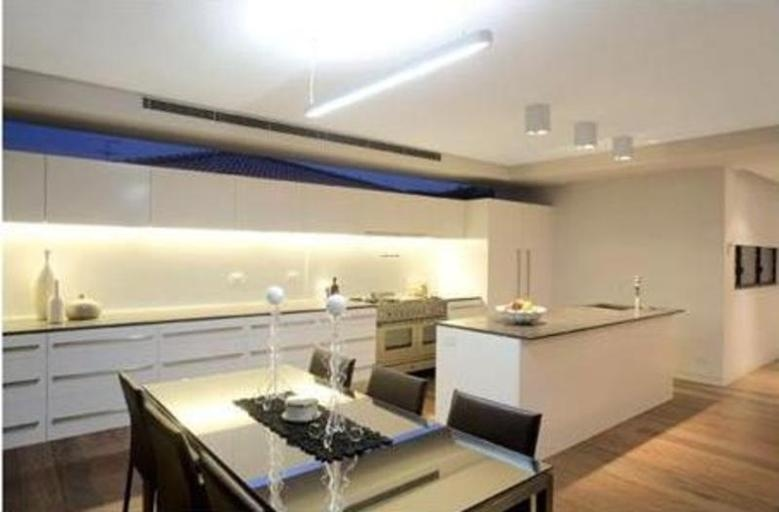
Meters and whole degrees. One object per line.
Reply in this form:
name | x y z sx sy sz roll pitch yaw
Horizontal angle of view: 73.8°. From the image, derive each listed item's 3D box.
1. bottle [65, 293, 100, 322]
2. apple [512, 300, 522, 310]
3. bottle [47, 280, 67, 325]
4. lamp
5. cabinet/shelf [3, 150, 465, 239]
bottle | -2.791 0.460 4.733 0.233 0.182 0.227 0 -4 0
apple | 1.174 0.454 4.816 0.096 0.067 0.131 5 -2 -6
bottle | -2.974 0.406 4.619 0.141 0.353 0.301 -7 15 -32
lamp | 2.024 -1.253 5.237 0.674 0.400 2.306 9 13 33
cabinet/shelf | -1.478 -0.587 5.567 4.297 0.935 0.313 -4 14 -28
